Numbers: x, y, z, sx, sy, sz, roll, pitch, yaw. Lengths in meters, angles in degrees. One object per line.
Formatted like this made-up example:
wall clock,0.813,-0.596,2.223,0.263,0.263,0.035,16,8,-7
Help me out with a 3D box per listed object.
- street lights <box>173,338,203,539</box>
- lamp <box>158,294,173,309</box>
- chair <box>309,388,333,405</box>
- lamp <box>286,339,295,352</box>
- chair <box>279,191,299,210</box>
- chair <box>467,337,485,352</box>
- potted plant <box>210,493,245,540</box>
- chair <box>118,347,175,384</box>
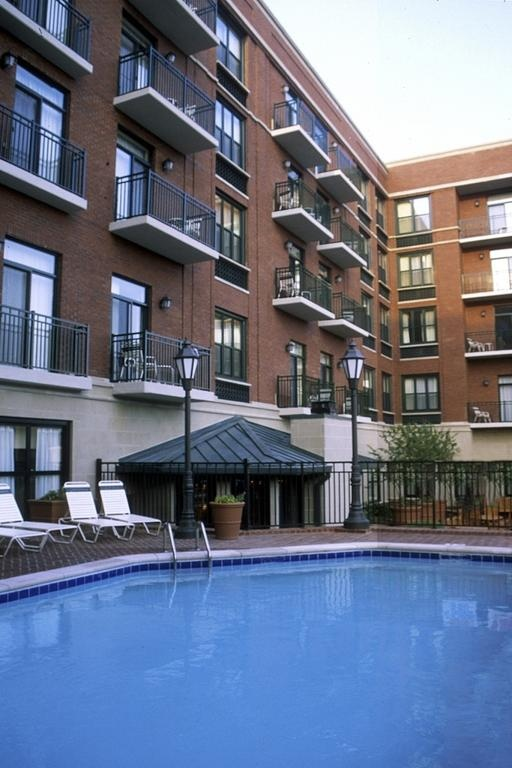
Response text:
street lights,-1.257,0.961,12.113,0.411,3.505,0.691,1,-6,-7
lamp,-2.123,-1.920,15.956,0.243,0.414,0.253,6,-19,-31
chair,2.083,0.361,20.938,0.548,0.451,0.452,-5,-11,32
lamp,1.105,-1.205,21.626,0.285,0.419,0.350,0,-7,-1
chair,1.064,-5.821,21.443,0.628,0.729,0.499,3,5,28
chair,10.357,-1.813,31.816,0.616,0.943,0.606,-3,-6,28
potted plant,-0.509,2.401,12.206,0.631,0.771,0.673,0,-14,0
chair,-2.325,-0.354,14.712,0.649,0.719,1.494,-3,-8,25
